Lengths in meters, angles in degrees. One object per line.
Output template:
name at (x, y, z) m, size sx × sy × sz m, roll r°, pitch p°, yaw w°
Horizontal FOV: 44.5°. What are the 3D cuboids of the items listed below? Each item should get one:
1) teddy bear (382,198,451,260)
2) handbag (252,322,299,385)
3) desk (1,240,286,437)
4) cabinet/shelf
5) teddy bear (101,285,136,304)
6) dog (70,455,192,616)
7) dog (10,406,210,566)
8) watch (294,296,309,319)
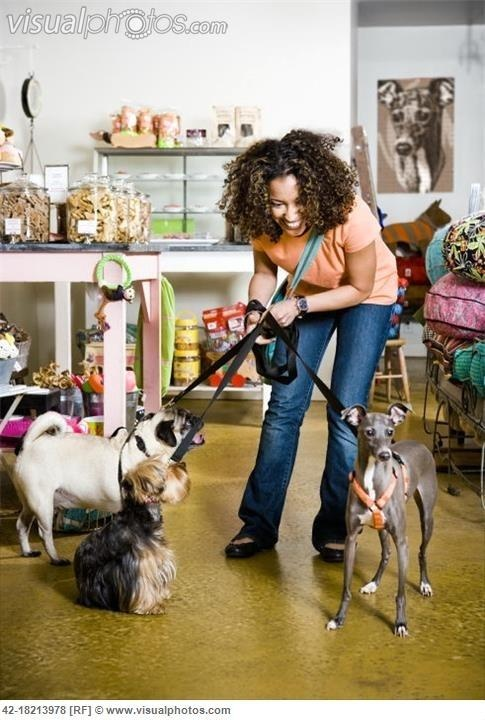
teddy bear at (2.094, -1.597, 7.198) m, size 0.845 × 0.584 × 0.287 m, roll 1°, pitch 20°, yaw 34°
handbag at (0.101, -0.014, 1.761) m, size 0.111 × 0.181 × 0.055 m, roll -14°, pitch -30°, yaw 19°
desk at (-0.436, -0.096, 2.800) m, size 1.331 × 0.885 × 0.727 m, roll 0°, pitch 8°, yaw 7°
cabinet/shelf at (-0.530, -1.252, 4.917) m, size 1.159 × 1.033 × 0.336 m, roll -3°, pitch 27°, yaw -20°
teddy bear at (-0.392, -0.211, 1.876) m, size 0.106 × 0.059 × 0.092 m, roll 0°, pitch -1°, yaw -18°
dog at (-0.270, 0.433, 1.494) m, size 0.310 × 0.343 × 0.225 m, roll -7°, pitch -2°, yaw -2°
dog at (-0.371, 0.347, 1.664) m, size 0.523 × 0.396 × 0.192 m, roll 1°, pitch -4°, yaw -7°
watch at (0.165, -0.152, 1.629) m, size 0.036 × 0.052 × 0.049 m, roll -1°, pitch -10°, yaw -31°
